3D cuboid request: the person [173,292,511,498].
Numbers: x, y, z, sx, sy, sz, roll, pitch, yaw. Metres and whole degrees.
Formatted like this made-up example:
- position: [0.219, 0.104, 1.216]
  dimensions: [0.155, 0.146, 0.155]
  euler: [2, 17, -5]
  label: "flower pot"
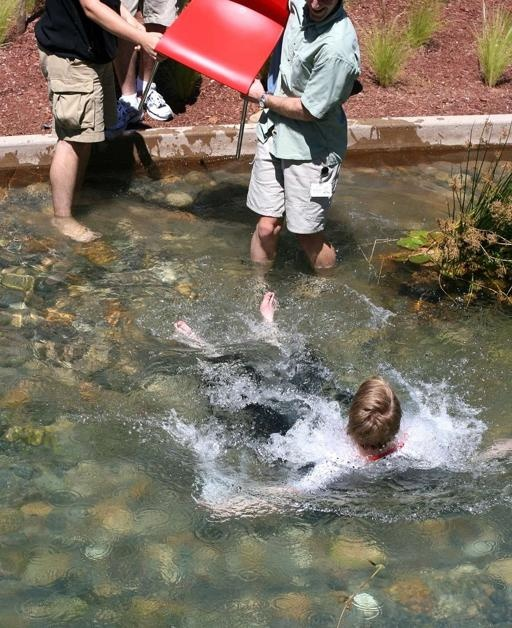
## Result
- position: [0.491, 0.378, 3.206]
  dimensions: [1.166, 0.859, 0.582]
  euler: [34, 20, 34]
  label: "person"
